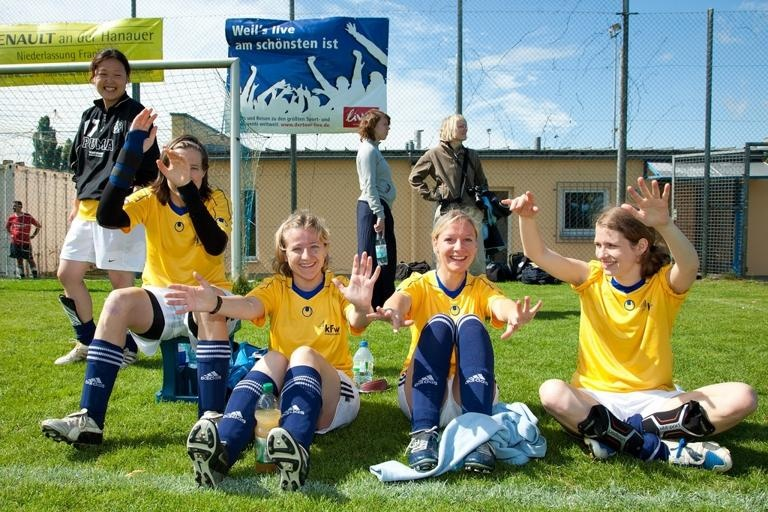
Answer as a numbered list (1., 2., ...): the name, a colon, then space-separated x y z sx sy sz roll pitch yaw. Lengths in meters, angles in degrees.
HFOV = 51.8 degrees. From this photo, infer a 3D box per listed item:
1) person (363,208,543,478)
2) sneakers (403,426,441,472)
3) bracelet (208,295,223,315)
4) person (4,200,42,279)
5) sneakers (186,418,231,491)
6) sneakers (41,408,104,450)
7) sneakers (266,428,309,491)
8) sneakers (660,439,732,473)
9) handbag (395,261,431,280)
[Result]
1. person: 0.465 0.552 5.682 1.024 1.658 1.100 1 12 2
2. sneakers: 0.268 1.314 5.411 0.214 0.241 0.237 1 12 1
3. bracelet: -1.220 0.345 5.588 0.083 0.128 0.122 21 38 -22
4. person: -6.799 -0.305 14.801 0.548 1.336 1.461 -5 13 -25
5. sneakers: -1.156 1.286 5.194 0.178 0.540 0.240 3 13 9
6. sneakers: -2.187 1.181 5.537 0.160 0.247 0.454 -8 -20 29
7. sneakers: -0.624 1.322 5.208 0.184 0.509 0.226 -1 15 12
8. sneakers: 2.182 1.352 5.506 0.506 0.188 0.242 5 18 25
9. handbag: 0.475 0.222 13.844 0.447 0.233 0.395 0 5 14
